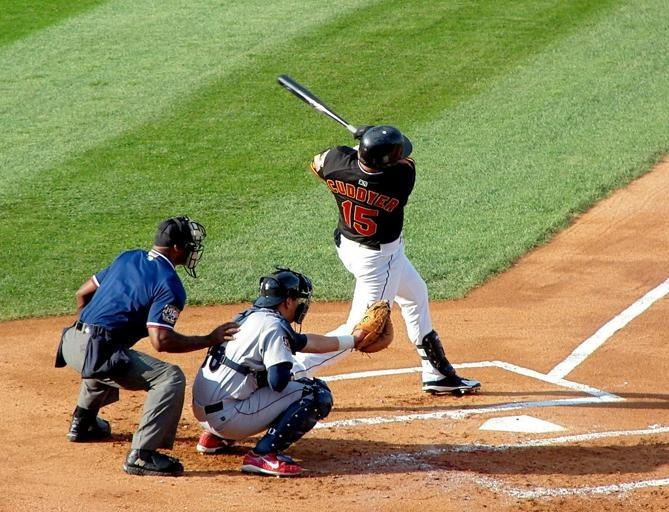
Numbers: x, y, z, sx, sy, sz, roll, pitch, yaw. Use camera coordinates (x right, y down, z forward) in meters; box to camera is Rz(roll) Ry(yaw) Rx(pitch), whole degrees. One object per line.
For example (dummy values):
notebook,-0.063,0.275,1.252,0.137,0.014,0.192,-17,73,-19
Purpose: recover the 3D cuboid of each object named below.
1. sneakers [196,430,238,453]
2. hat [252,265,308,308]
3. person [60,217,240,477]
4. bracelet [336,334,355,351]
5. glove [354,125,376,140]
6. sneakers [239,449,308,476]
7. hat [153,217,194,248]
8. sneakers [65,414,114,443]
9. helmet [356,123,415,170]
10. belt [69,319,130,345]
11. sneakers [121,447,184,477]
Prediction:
sneakers,-1.171,1.792,10.111,0.453,0.166,0.156,-2,17,-17
hat,-0.529,0.275,9.990,0.630,0.284,0.435,-9,14,-38
person,-1.797,0.817,9.857,1.151,2.199,1.511,-16,26,-38
bracelet,0.109,0.850,10.113,0.135,0.120,0.161,-5,5,-18
glove,0.310,-1.227,10.653,0.203,0.085,0.267,-18,17,15
sneakers,-0.568,1.932,9.764,0.602,0.218,0.207,2,5,4
hat,-1.530,-0.237,9.985,0.376,0.257,0.243,-13,25,-26
sneakers,-2.370,1.667,10.307,0.460,0.262,0.226,-10,24,-32
helmet,0.499,-1.150,10.543,0.690,0.288,0.449,-10,52,-18
belt,-2.165,0.718,9.753,0.354,0.071,0.259,18,5,4
sneakers,-1.672,1.904,9.621,0.529,0.229,0.225,0,9,-1
